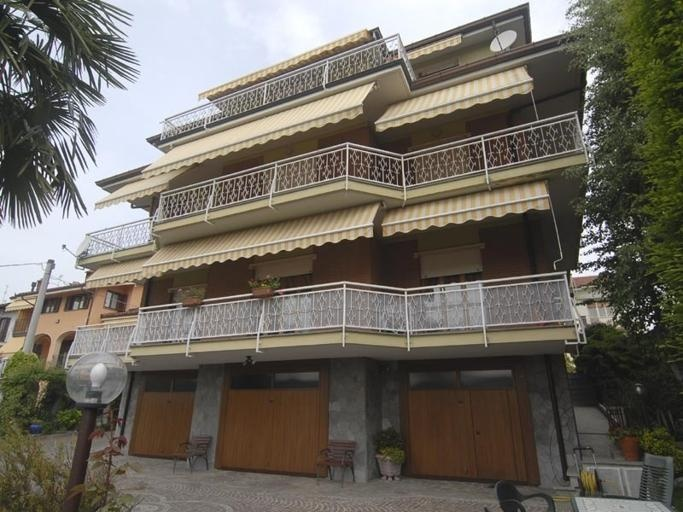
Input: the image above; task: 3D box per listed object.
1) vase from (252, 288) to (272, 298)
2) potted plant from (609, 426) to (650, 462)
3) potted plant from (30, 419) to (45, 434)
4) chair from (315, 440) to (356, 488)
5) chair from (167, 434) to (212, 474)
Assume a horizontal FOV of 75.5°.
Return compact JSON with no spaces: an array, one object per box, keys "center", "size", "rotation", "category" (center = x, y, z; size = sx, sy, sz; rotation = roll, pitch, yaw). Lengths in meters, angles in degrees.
[{"center":[-2.870,1.295,16.090],"size":[0.766,0.401,0.259],"rotation":[-3,-10,21],"category":"vase"},{"center":[11.202,7.228,17.224],"size":[1.147,0.903,1.159],"rotation":[-4,-17,23],"category":"potted plant"},{"center":[-16.952,9.432,24.657],"size":[0.717,0.815,0.715],"rotation":[7,-15,-37],"category":"potted plant"},{"center":[-0.200,6.887,14.878],"size":[1.201,1.150,0.914],"rotation":[-14,-19,36],"category":"chair"},{"center":[-5.874,7.605,17.124],"size":[1.130,1.261,1.424],"rotation":[-12,-22,26],"category":"chair"}]
